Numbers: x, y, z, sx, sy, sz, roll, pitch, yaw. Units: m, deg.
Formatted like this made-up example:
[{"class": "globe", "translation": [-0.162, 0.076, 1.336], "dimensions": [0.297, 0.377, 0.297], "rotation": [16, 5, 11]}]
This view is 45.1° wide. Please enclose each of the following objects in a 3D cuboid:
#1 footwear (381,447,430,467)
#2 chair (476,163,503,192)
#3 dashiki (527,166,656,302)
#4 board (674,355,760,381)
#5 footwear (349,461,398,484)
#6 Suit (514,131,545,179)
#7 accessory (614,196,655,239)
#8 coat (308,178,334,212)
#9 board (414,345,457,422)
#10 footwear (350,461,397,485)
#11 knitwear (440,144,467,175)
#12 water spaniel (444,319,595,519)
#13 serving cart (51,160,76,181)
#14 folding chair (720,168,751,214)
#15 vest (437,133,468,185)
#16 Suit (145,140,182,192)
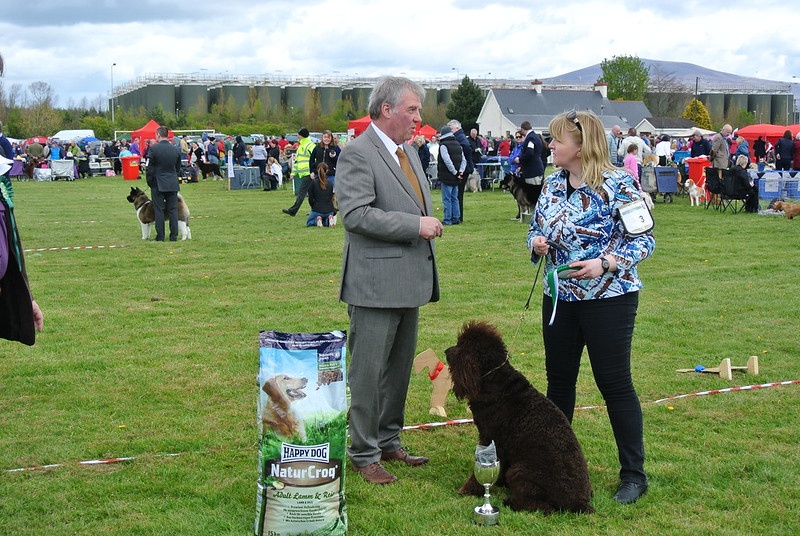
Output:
[{"class": "footwear", "translation": [0.044, 1.905, 9.829], "dimensions": [0.517, 0.213, 0.186], "rotation": [2, 2, 1]}, {"class": "chair", "translation": [2.795, -2.955, 30.414], "dimensions": [0.774, 1.054, 1.062], "rotation": [0, 5, -3]}, {"class": "dashiki", "translation": [1.795, -0.355, 9.400], "dimensions": [1.296, 1.315, 0.727], "rotation": [0, 4, 40]}, {"class": "board", "translation": [3.819, 1.156, 11.329], "dimensions": [0.983, 0.233, 0.391], "rotation": [-3, 8, -5]}, {"class": "footwear", "translation": [-0.252, 2.008, 9.508], "dimensions": [0.463, 0.207, 0.176], "rotation": [3, 7, 40]}, {"class": "Suit", "translation": [2.728, -2.355, 19.948], "dimensions": [0.476, 0.965, 0.750], "rotation": [-3, 5, 13]}, {"class": "accessory", "translation": [2.212, -0.471, 9.005], "dimensions": [0.335, 0.355, 0.102], "rotation": [-19, 6, -8]}, {"class": "coat", "translation": [-1.722, -1.577, 21.101], "dimensions": [0.668, 0.983, 0.631], "rotation": [2, 12, 5]}, {"class": "board", "translation": [0.428, 1.276, 10.894], "dimensions": [0.828, 0.781, 0.356], "rotation": [1, -1, 16]}, {"class": "footwear", "translation": [-0.265, 1.997, 9.503], "dimensions": [0.467, 0.206, 0.175], "rotation": [3, 7, 41]}, {"class": "knitwear", "translation": [1.055, -2.289, 20.166], "dimensions": [0.448, 0.663, 0.203], "rotation": [-7, 11, -35]}, {"class": "water spaniel", "translation": [1.055, 1.347, 9.471], "dimensions": [2.068, 1.716, 0.820], "rotation": [18, 19, 38]}, {"class": "serving cart", "translation": [-13.786, -3.997, 39.089], "dimensions": [1.123, 0.913, 0.673], "rotation": [-4, 6, -37]}, {"class": "folding chair", "translation": [7.974, -1.840, 22.589], "dimensions": [0.771, 1.083, 0.739], "rotation": [1, 5, 34]}, {"class": "vest", "translation": [1.091, -2.324, 20.544], "dimensions": [0.522, 1.116, 0.770], "rotation": [3, 8, 34]}, {"class": "Suit", "translation": [-4.589, -1.960, 18.562], "dimensions": [0.641, 0.992, 0.508], "rotation": [-4, 8, -18]}]
